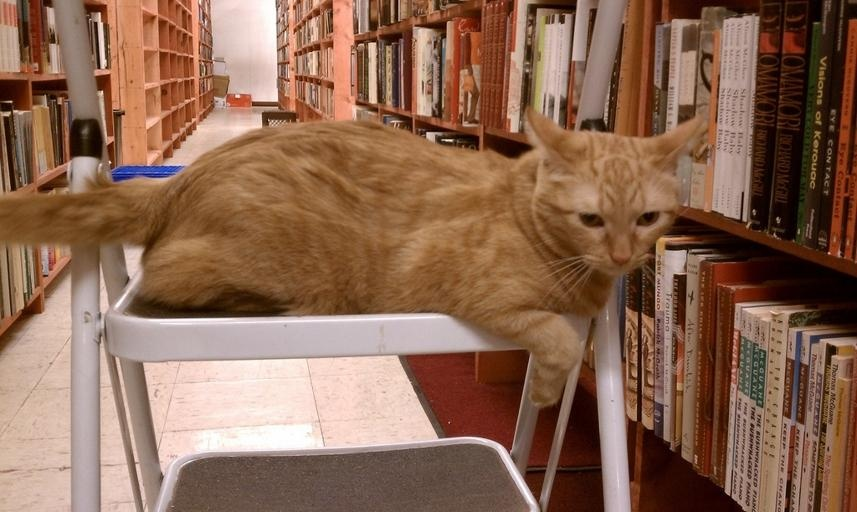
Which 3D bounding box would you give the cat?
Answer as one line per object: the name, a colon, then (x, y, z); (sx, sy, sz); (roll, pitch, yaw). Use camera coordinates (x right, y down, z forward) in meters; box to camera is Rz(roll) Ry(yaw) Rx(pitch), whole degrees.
cat: (-0.069, 0.010, 1.191); (1.090, 0.487, 0.537); (3, 27, -9)
